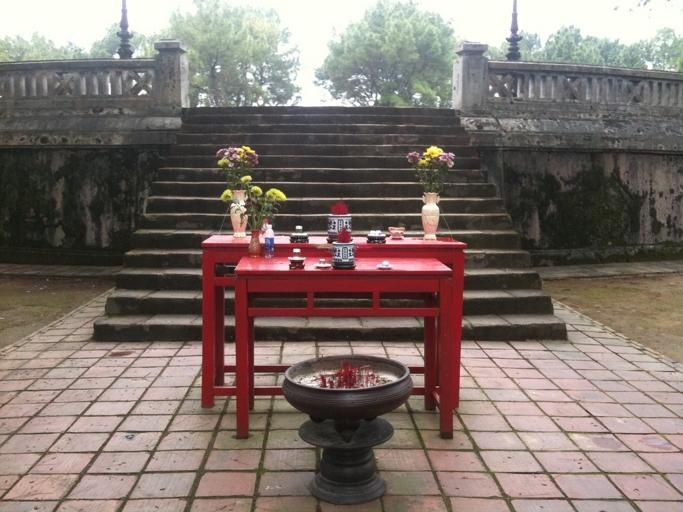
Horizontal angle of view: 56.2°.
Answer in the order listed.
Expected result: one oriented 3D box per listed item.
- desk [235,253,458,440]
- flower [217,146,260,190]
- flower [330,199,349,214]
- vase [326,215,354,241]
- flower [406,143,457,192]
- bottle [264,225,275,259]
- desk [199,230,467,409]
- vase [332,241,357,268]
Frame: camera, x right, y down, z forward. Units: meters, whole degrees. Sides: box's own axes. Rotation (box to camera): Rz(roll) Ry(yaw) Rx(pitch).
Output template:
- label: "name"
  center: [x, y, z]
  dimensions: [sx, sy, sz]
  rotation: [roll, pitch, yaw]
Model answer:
- label: "desk"
  center: [0.027, 0.928, 6.415]
  dimensions: [2.086, 1.444, 1.268]
  rotation: [-1, -5, 6]
- label: "flower"
  center: [-1.261, -0.985, 7.307]
  dimensions: [0.463, 0.456, 0.445]
  rotation: [8, 11, 9]
- label: "flower"
  center: [-0.022, -0.493, 6.639]
  dimensions: [0.153, 0.123, 0.203]
  rotation: [-2, 8, -7]
- label: "vase"
  center: [-0.007, -0.294, 6.635]
  dimensions: [0.263, 0.270, 0.256]
  rotation: [0, 7, -1]
- label: "flower"
  center: [1.012, -0.973, 7.523]
  dimensions: [0.560, 0.548, 0.512]
  rotation: [-20, 24, -34]
- label: "bottle"
  center: [-0.761, -0.159, 6.652]
  dimensions: [0.096, 0.316, 0.289]
  rotation: [-3, 8, -7]
- label: "desk"
  center: [-0.156, 0.813, 6.912]
  dimensions: [2.554, 1.648, 0.888]
  rotation: [3, 8, -5]
- label: "vase"
  center: [0.025, -0.006, 6.058]
  dimensions: [0.231, 0.234, 0.228]
  rotation: [-1, 3, -1]
